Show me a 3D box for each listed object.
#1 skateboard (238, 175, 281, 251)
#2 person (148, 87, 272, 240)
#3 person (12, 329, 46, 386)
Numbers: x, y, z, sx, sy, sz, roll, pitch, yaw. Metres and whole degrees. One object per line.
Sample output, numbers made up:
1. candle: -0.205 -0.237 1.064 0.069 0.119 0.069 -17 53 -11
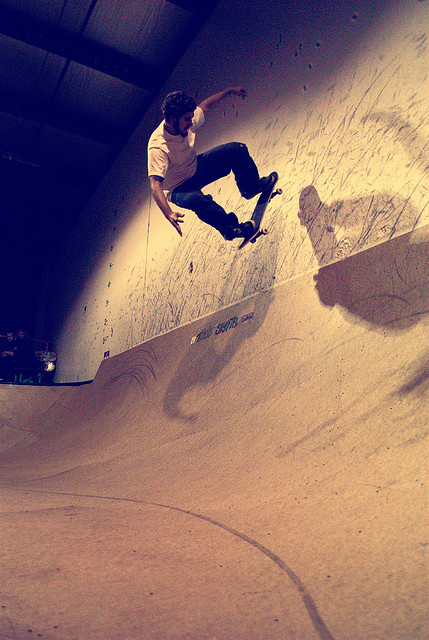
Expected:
1. skateboard: 0.432 -1.018 5.349 0.124 0.873 0.194 31 -29 -25
2. person: -0.139 -1.330 5.010 0.922 1.270 1.580 3 10 27
3. person: -3.394 0.675 10.674 0.307 0.918 0.853 -1 9 2
